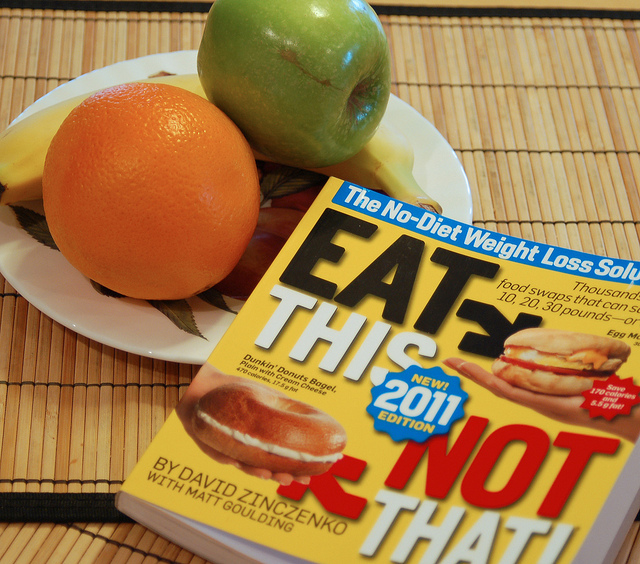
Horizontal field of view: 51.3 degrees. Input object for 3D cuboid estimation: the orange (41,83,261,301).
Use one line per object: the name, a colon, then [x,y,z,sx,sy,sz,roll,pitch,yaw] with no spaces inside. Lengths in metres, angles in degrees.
orange: [-0.138,-0.079,0.564,0.169,0.194,0.196,12,102,26]
